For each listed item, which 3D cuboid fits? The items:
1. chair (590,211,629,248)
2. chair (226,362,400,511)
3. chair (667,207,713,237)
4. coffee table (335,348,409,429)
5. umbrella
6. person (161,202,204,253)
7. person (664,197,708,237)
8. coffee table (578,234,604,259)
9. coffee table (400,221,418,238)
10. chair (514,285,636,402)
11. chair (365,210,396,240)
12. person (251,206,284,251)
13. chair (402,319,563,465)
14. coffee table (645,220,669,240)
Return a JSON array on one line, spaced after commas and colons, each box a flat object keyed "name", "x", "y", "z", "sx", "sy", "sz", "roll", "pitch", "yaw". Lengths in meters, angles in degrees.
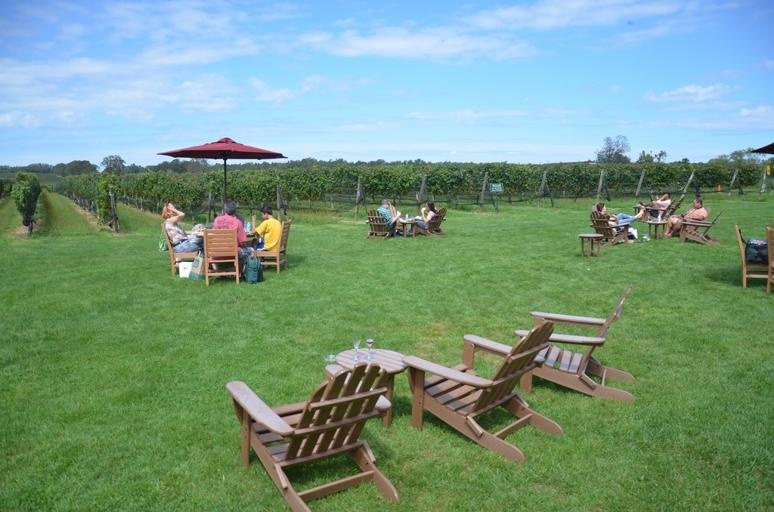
[{"name": "chair", "x": 7.303, "y": -0.926, "z": 17.040, "sx": 1.502, "sy": 1.112, "sz": 1.041, "roll": -8, "pitch": 11, "yaw": -36}, {"name": "chair", "x": -0.778, "y": 2.093, "z": 6.213, "sx": 1.525, "sy": 1.541, "sz": 2.062, "roll": -3, "pitch": 13, "yaw": -30}, {"name": "chair", "x": 10.457, "y": -1.110, "z": 17.765, "sx": 1.342, "sy": 0.882, "sz": 0.962, "roll": -9, "pitch": 4, "yaw": 29}, {"name": "coffee table", "x": -0.152, "y": 1.858, "z": 7.312, "sx": 1.070, "sy": 0.895, "sz": 0.978, "roll": -2, "pitch": 8, "yaw": -17}, {"name": "umbrella", "x": -5.007, "y": -2.595, "z": 15.295, "sx": 2.903, "sy": 1.860, "sz": 2.755, "roll": -1, "pitch": 11, "yaw": -6}, {"name": "person", "x": -5.317, "y": -0.746, "z": 13.608, "sx": 0.997, "sy": 1.399, "sz": 1.222, "roll": 5, "pitch": 12, "yaw": 44}, {"name": "person", "x": 10.443, "y": -1.293, "z": 17.810, "sx": 1.343, "sy": 1.191, "sz": 0.961, "roll": -8, "pitch": 37, "yaw": -13}, {"name": "coffee table", "x": 6.363, "y": -0.312, "z": 15.997, "sx": 0.733, "sy": 0.549, "sz": 0.724, "roll": -8, "pitch": 14, "yaw": -23}, {"name": "coffee table", "x": 0.832, "y": -1.079, "z": 20.328, "sx": 0.616, "sy": 0.598, "sz": 0.621, "roll": 1, "pitch": 11, "yaw": 14}, {"name": "chair", "x": 2.859, "y": 1.359, "z": 8.441, "sx": 2.079, "sy": 1.744, "sz": 1.402, "roll": 5, "pitch": 8, "yaw": 24}, {"name": "chair", "x": -0.275, "y": -1.268, "z": 19.910, "sx": 0.853, "sy": 1.084, "sz": 1.165, "roll": 4, "pitch": 6, "yaw": 25}, {"name": "person", "x": -3.182, "y": -0.775, "z": 13.744, "sx": 0.722, "sy": 1.161, "sz": 0.675, "roll": 0, "pitch": 11, "yaw": 3}, {"name": "chair", "x": 1.359, "y": 1.801, "z": 7.341, "sx": 2.053, "sy": 1.783, "sz": 1.595, "roll": 9, "pitch": 11, "yaw": 44}, {"name": "coffee table", "x": 9.919, "y": -0.969, "z": 18.822, "sx": 0.692, "sy": 0.669, "sz": 0.682, "roll": -14, "pitch": 19, "yaw": -35}]
